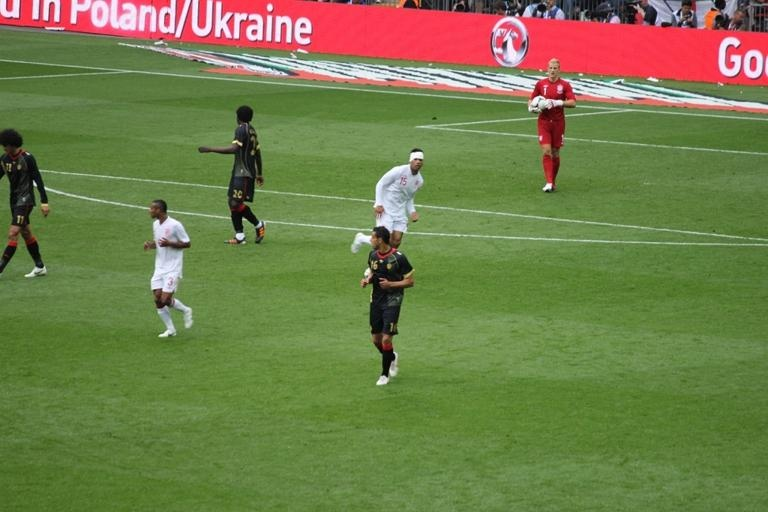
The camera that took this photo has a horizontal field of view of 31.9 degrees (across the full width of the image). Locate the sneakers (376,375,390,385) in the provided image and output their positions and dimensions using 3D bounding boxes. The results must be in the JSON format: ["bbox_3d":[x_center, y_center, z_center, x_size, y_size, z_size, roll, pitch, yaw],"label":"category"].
[{"bbox_3d":[-0.034,2.041,22.045,0.121,0.083,0.213,4,1,20],"label":"sneakers"}]

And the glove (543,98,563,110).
[{"bbox_3d":[3.911,-3.550,31.290,0.333,0.133,0.231,-2,5,43],"label":"glove"}]

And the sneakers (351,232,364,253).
[{"bbox_3d":[-0.491,-0.279,24.145,0.171,0.131,0.483,26,32,10],"label":"sneakers"}]

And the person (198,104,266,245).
[{"bbox_3d":[-2.960,-1.668,27.712,0.980,2.784,1.234,3,13,8],"label":"person"}]

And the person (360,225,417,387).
[{"bbox_3d":[0.003,0.802,22.058,0.783,2.548,0.743,-1,14,-10],"label":"person"}]

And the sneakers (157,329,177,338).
[{"bbox_3d":[-3.804,1.354,23.420,0.344,0.120,0.115,1,8,4],"label":"sneakers"}]

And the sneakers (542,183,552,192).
[{"bbox_3d":[3.833,-1.618,31.650,0.254,0.239,0.193,5,13,18],"label":"sneakers"}]

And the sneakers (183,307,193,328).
[{"bbox_3d":[-3.461,1.079,23.573,0.203,0.367,0.154,-2,-9,42],"label":"sneakers"}]

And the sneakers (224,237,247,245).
[{"bbox_3d":[-3.083,-0.324,27.692,0.436,0.140,0.147,4,6,9],"label":"sneakers"}]

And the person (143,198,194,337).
[{"bbox_3d":[-3.780,0.218,23.429,0.784,2.345,0.655,-1,14,-8],"label":"person"}]

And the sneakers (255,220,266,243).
[{"bbox_3d":[-2.605,-0.525,27.792,0.174,0.445,0.227,20,25,40],"label":"sneakers"}]
